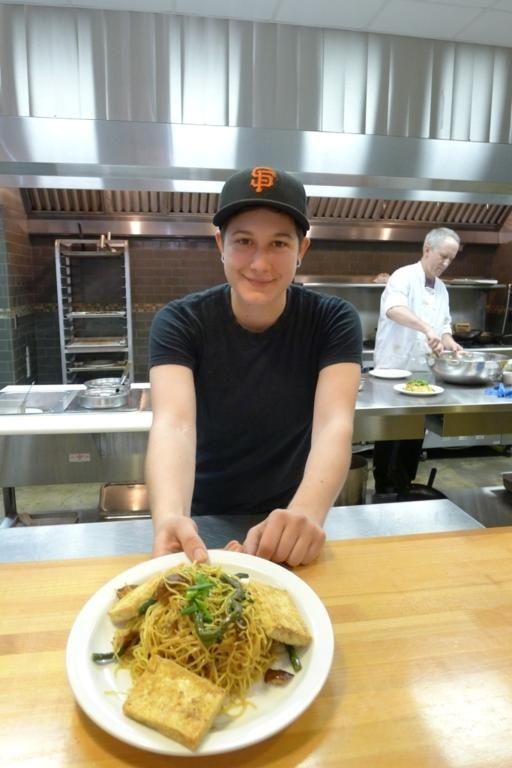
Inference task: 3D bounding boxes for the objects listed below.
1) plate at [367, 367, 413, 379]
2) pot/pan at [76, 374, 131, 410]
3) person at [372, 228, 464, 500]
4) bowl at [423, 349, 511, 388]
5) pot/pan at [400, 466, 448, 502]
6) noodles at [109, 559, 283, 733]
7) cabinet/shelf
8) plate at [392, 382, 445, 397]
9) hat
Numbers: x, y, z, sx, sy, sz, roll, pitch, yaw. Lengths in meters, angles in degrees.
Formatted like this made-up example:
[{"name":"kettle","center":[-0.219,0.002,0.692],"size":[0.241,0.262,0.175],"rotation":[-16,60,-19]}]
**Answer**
[{"name":"plate","center":[0.875,-0.059,3.718],"size":[0.267,0.058,0.173],"rotation":[2,13,9]},{"name":"pot/pan","center":[-0.843,0.037,3.203],"size":[0.253,0.128,0.487],"rotation":[-3,13,-10]},{"name":"person","center":[1.160,-0.308,3.947],"size":[0.573,2.084,0.639],"rotation":[-1,13,-20]},{"name":"bowl","center":[1.252,-0.088,3.411],"size":[0.446,0.210,0.348],"rotation":[5,14,22]},{"name":"pot/pan","center":[0.982,0.572,3.403],"size":[0.228,0.233,0.408],"rotation":[3,14,15]},{"name":"noodles","center":[-0.063,0.341,0.806],"size":[0.207,0.140,0.228],"rotation":[0,6,-29]},{"name":"cabinet/shelf","center":[-1.587,-0.745,5.686],"size":[0.728,1.450,0.876],"rotation":[-4,14,-12]},{"name":"plate","center":[0.894,0.030,3.140],"size":[0.270,0.064,0.235],"rotation":[3,14,15]},{"name":"hat","center":[0.014,-0.413,1.289],"size":[0.221,0.139,0.138],"rotation":[-2,13,-5]}]
